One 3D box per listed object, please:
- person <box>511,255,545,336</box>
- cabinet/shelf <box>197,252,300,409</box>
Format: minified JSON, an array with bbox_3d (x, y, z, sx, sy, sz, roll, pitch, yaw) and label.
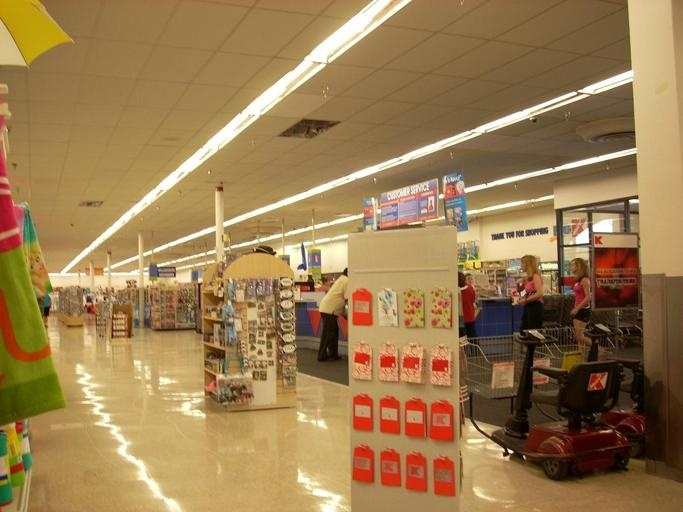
[{"bbox_3d":[3.060,0.596,8.118,0.363,1.215,1.481,-1,-3,19],"label":"person"},{"bbox_3d":[-1.091,0.934,7.284,1.033,2.146,1.131,2,6,4],"label":"cabinet/shelf"}]
